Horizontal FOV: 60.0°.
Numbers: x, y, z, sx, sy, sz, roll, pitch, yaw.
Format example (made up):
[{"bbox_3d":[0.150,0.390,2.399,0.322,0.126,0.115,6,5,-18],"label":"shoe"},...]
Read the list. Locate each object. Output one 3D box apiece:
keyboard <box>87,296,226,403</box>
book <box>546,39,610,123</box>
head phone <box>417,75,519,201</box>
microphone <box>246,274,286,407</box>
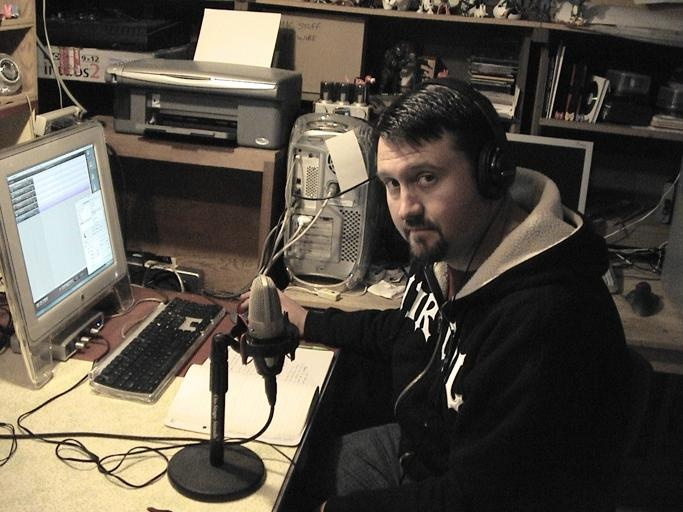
[{"bbox_3d":[-0.493,0.250,1.611,0.169,0.054,0.407,20,30,8],"label":"keyboard"},{"bbox_3d":[0.918,-0.685,2.303,0.278,0.298,0.078,11,7,14],"label":"book"},{"bbox_3d":[0.265,-0.252,1.256,0.227,0.217,0.078,26,31,36],"label":"head phone"},{"bbox_3d":[-0.154,0.179,1.202,0.078,0.298,0.091,1,25,-9],"label":"microphone"}]
